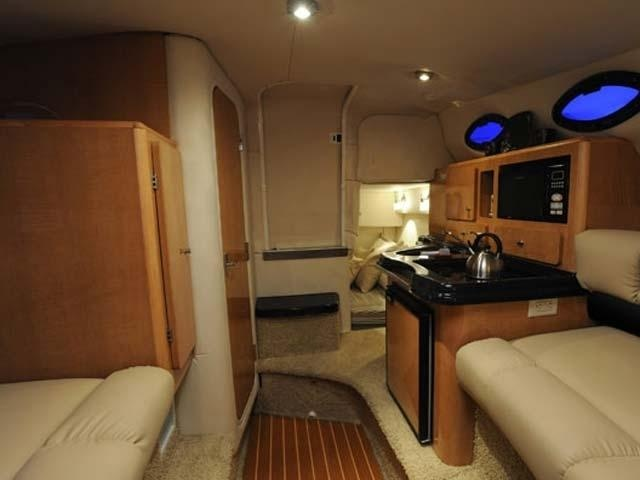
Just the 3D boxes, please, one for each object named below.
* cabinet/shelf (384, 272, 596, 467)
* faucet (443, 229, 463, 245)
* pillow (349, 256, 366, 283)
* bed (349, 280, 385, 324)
[{"bbox_3d":[0.900,0.561,2.852,0.863,0.990,0.945,3,11,9],"label":"cabinet/shelf"},{"bbox_3d":[1.087,-0.022,3.911,0.057,0.079,0.186,-5,23,-7],"label":"faucet"},{"bbox_3d":[0.355,0.294,4.806,0.073,0.226,0.208,20,-10,-28],"label":"pillow"},{"bbox_3d":[0.426,0.629,4.286,0.301,0.231,0.467,0,7,5],"label":"bed"}]
